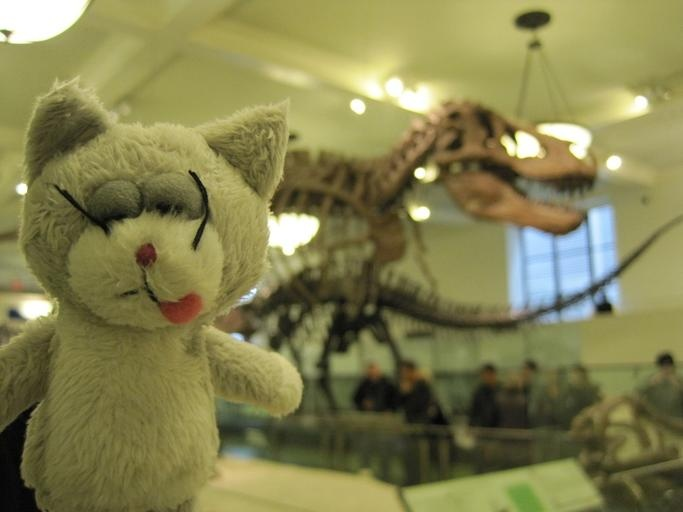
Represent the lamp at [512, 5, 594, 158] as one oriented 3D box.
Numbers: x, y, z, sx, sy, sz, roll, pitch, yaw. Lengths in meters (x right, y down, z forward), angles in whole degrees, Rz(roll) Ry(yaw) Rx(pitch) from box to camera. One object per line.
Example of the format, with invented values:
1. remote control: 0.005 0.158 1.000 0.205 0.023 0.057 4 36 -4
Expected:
1. lamp: 0.508 -0.415 1.818 0.070 0.415 0.194 10 -18 -39
